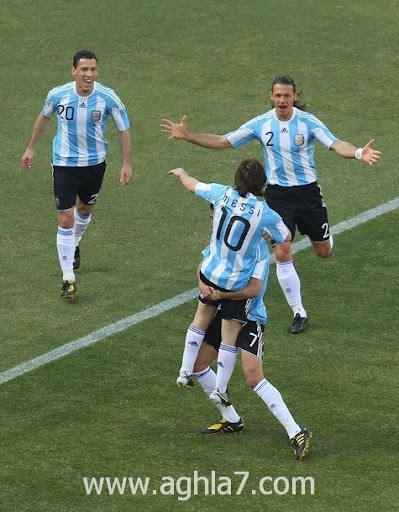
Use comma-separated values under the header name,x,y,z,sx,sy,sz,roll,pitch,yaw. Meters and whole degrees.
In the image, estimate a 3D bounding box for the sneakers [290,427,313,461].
name,x,y,z,sx,sy,sz,roll,pitch,yaw
sneakers,0.567,1.043,4.807,0.117,0.072,0.196,15,49,-1

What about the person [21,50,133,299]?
name,x,y,z,sx,sy,sz,roll,pitch,yaw
person,-0.930,-0.793,6.921,0.814,1.666,0.886,-4,29,-16

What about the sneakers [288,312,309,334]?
name,x,y,z,sx,sy,sz,roll,pitch,yaw
sneakers,0.732,0.507,6.318,0.083,0.076,0.210,1,9,22

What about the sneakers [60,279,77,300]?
name,x,y,z,sx,sy,sz,roll,pitch,yaw
sneakers,-1.027,0.279,6.744,0.086,0.093,0.199,1,18,-5

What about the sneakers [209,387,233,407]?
name,x,y,z,sx,sy,sz,roll,pitch,yaw
sneakers,0.130,0.819,4.955,0.177,0.080,0.065,34,-19,-35

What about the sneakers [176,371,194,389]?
name,x,y,z,sx,sy,sz,roll,pitch,yaw
sneakers,-0.075,0.736,5.089,0.070,0.056,0.125,9,-3,16

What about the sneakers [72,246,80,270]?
name,x,y,z,sx,sy,sz,roll,pitch,yaw
sneakers,-1.059,0.020,7.440,0.075,0.126,0.175,5,49,-5

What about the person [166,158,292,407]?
name,x,y,z,sx,sy,sz,roll,pitch,yaw
person,0.085,0.240,4.953,0.659,1.590,0.703,11,29,11

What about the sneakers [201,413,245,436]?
name,x,y,z,sx,sy,sz,roll,pitch,yaw
sneakers,0.155,1.017,5.120,0.300,0.090,0.087,0,6,-5
